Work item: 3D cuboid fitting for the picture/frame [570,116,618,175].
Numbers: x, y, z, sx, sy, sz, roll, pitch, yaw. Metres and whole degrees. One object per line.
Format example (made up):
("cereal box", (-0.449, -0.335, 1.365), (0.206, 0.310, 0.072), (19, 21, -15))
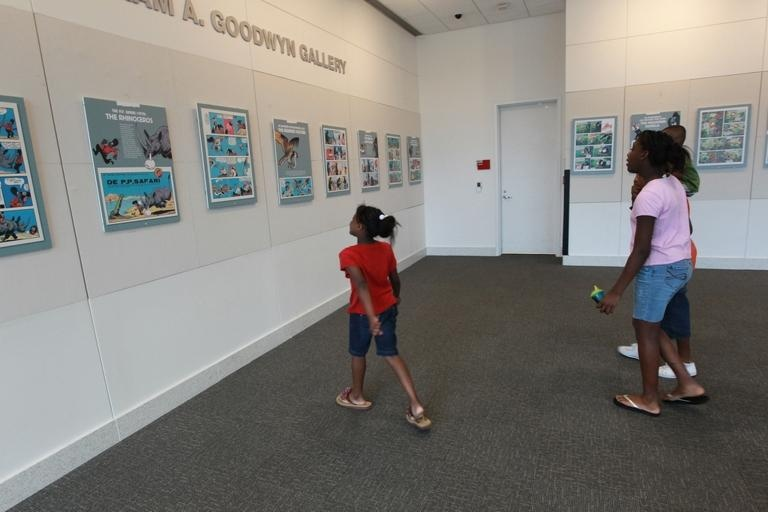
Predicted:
("picture/frame", (3.149, -1.694, 7.072), (0.831, 1.116, 0.051), (2, 8, 21))

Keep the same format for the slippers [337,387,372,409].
("slippers", (-0.248, 1.193, 4.051), (0.271, 0.111, 0.144), (5, 9, 35))

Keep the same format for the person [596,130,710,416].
("person", (2.013, 0.157, 3.647), (0.663, 2.182, 0.399), (-1, 14, 10))

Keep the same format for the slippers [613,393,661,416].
("slippers", (2.018, 1.178, 3.807), (0.121, 0.060, 0.254), (-4, 19, -39))

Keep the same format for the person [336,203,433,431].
("person", (-0.056, 0.462, 3.838), (0.847, 1.756, 0.544), (0, 14, 14))

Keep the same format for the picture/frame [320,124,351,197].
("picture/frame", (-0.631, -1.215, 5.998), (0.038, 0.995, 0.871), (-1, 10, 25))

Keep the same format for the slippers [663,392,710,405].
("slippers", (2.425, 1.132, 3.865), (0.357, 0.100, 0.133), (-6, 1, 30))

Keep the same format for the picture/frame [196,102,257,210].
("picture/frame", (-1.525, -0.978, 4.587), (0.142, 0.945, 0.602), (3, 15, 24))
